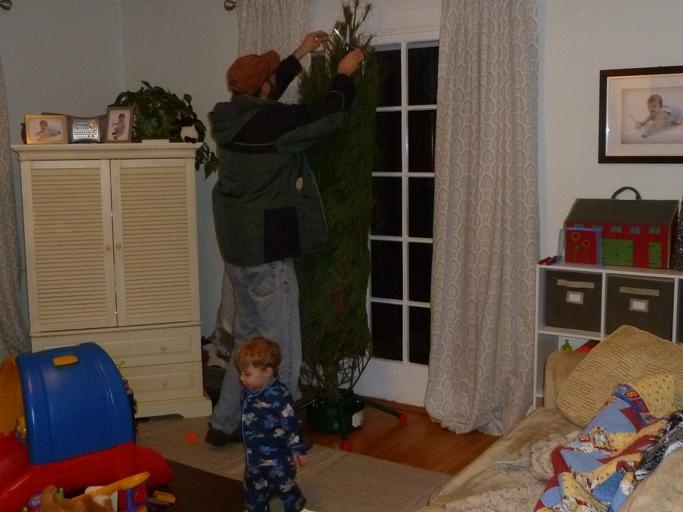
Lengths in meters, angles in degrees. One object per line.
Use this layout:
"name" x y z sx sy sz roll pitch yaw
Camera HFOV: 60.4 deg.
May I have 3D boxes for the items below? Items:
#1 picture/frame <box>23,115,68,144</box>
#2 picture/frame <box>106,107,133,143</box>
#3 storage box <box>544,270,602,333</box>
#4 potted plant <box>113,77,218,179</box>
"picture/frame" -1.788 -0.761 3.532 0.164 0.153 0.016 -3 0 -18
"picture/frame" -1.385 -0.809 3.630 0.203 0.324 0.013 1 -2 -6
"storage box" 1.230 0.254 3.228 0.340 0.353 0.251 5 -6 -6
"potted plant" -1.251 -0.867 3.945 0.694 0.479 0.471 6 -18 15
